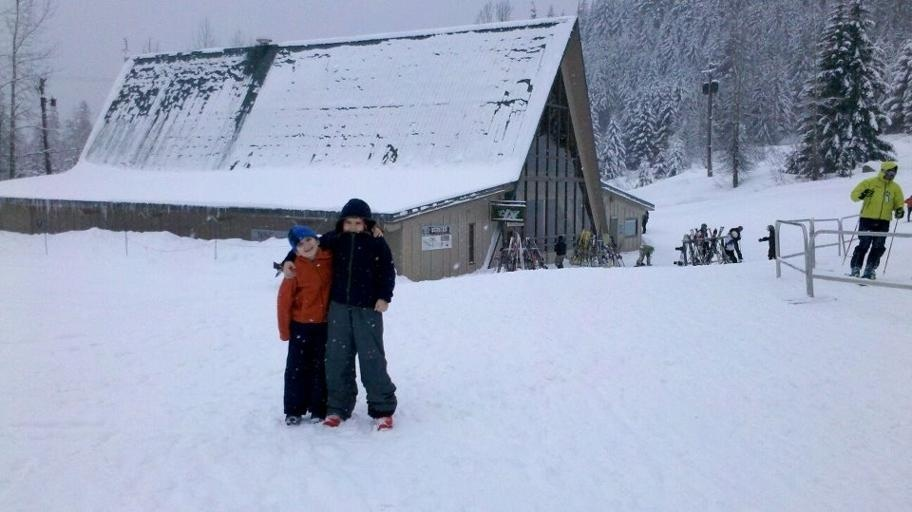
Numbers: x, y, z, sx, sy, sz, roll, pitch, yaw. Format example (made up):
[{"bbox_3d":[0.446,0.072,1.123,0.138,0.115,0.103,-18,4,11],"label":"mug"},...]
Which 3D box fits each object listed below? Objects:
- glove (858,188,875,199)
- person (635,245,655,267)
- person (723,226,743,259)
[{"bbox_3d":[15.904,-2.399,32.958,0.542,0.423,0.155,-1,7,-12],"label":"glove"},{"bbox_3d":[10.546,0.006,47.304,0.791,1.324,0.715,-7,14,-28],"label":"person"},{"bbox_3d":[14.761,-0.651,45.166,0.443,0.822,1.469,-17,-11,3],"label":"person"}]
